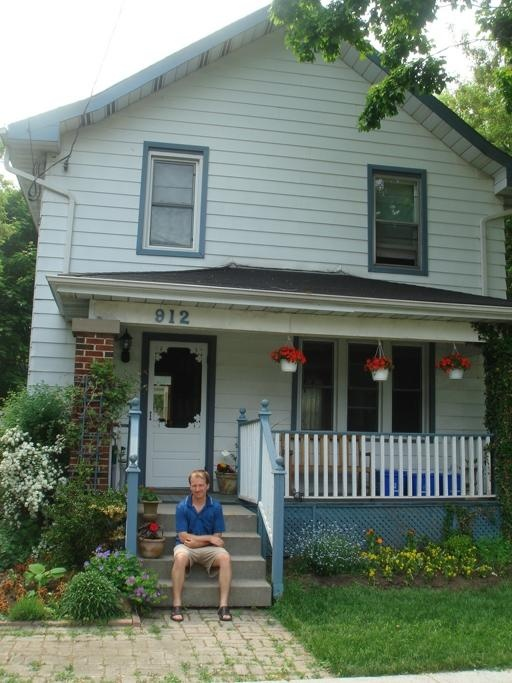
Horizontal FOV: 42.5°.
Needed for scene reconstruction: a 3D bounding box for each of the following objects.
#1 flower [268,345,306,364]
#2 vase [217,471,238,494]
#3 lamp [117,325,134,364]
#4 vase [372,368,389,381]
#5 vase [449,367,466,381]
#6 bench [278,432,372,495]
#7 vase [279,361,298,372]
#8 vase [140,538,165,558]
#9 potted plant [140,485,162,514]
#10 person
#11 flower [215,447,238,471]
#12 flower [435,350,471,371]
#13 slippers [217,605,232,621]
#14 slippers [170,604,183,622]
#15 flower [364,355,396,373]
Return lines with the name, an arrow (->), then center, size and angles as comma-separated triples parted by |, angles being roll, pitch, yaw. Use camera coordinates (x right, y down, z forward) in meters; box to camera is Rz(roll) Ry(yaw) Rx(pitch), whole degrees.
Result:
flower -> 0.465, 0.184, 8.735 | 0.295, 0.161, 0.289 | 7, -3, -21
vase -> -0.398, 1.924, 8.927 | 0.296, 0.210, 0.288 | 2, -15, -3
lamp -> -1.795, 0.059, 9.136 | 0.186, 0.494, 0.280 | 3, -8, -12
vase -> 1.722, 0.464, 9.097 | 0.248, 0.182, 0.241 | 1, -11, -1
vase -> 2.847, 0.465, 9.401 | 0.236, 0.146, 0.230 | 1, -11, 2
bench -> 0.933, 1.620, 8.595 | 1.084, 0.852, 1.658 | 1, -7, 8
vase -> 0.430, 0.328, 8.781 | 0.188, 0.111, 0.183 | 0, -12, 1
vase -> -0.974, 1.964, 6.293 | 0.207, 0.133, 0.203 | -3, -12, 13
potted plant -> -1.069, 1.688, 6.922 | 0.241, 0.317, 0.231 | 6, -11, -24
person -> -0.471, 1.808, 5.956 | 0.538, 1.216, 0.835 | 2, -7, -6
flower -> -0.362, 1.686, 9.313 | 0.309, 0.286, 0.074 | 5, 4, -36
flower -> 2.815, 0.305, 9.480 | 0.423, 0.286, 0.413 | 3, -3, -10
slippers -> -0.261, 2.315, 5.569 | 0.112, 0.089, 0.163 | 2, -7, -4
slippers -> -0.656, 2.282, 5.488 | 0.097, 0.099, 0.281 | 2, -13, -9
flower -> 1.684, 0.315, 9.091 | 0.288, 0.202, 0.281 | -1, 0, -4
